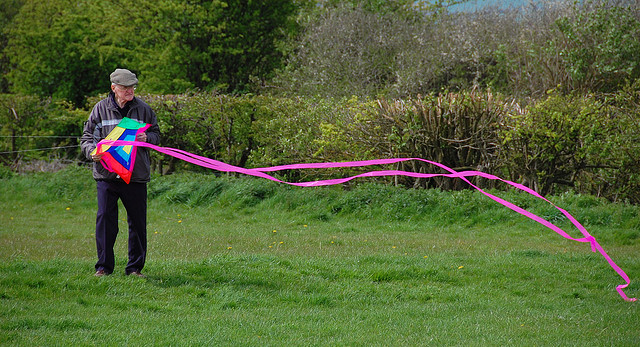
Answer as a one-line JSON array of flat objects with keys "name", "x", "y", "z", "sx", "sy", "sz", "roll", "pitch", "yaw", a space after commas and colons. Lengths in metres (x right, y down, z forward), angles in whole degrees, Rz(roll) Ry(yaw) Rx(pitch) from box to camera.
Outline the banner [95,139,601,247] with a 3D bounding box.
[{"name": "banner", "x": 0.946, "y": 0.255, "z": 39.532, "sx": 22.337, "sy": 2.699, "sz": 2.250, "roll": 7, "pitch": 22, "yaw": 37}]

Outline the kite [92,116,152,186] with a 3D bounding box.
[{"name": "kite", "x": -7.104, "y": -0.903, "z": 34.859, "sx": 3.121, "sy": 2.378, "sz": 2.362, "roll": 8, "pitch": -1, "yaw": -15}]
